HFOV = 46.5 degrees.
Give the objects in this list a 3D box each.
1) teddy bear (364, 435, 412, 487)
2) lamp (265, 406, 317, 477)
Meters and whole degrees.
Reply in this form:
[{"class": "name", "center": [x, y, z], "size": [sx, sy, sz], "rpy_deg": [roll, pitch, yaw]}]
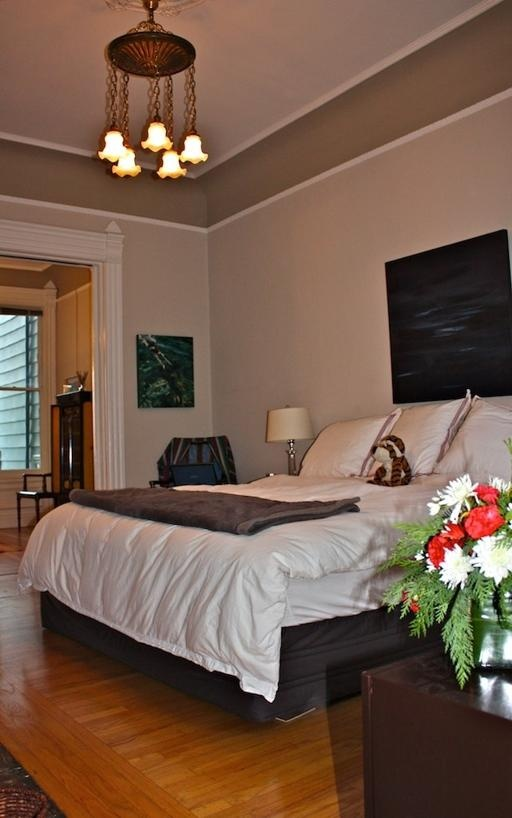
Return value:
[{"class": "teddy bear", "center": [0.744, 0.290, 3.252], "size": [0.205, 0.301, 0.208], "rpy_deg": [3, 0, 36]}, {"class": "lamp", "center": [0.283, 0.293, 4.814], "size": [0.399, 0.606, 0.413], "rpy_deg": [8, 23, 28]}]
